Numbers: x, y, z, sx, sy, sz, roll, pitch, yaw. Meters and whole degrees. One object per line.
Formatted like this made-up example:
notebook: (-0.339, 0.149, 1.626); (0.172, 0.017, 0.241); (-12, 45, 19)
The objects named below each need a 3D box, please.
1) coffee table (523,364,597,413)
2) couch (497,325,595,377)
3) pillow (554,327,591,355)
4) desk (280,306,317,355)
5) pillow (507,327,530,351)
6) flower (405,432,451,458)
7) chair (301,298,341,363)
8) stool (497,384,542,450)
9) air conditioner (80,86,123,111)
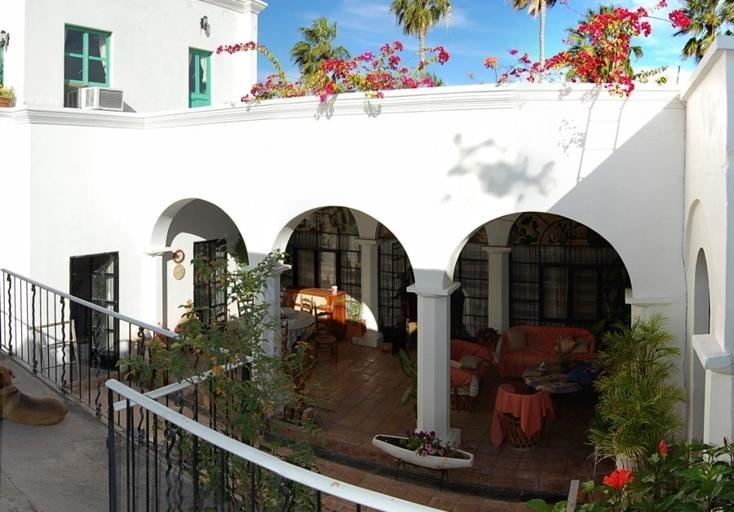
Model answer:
coffee table: (4.004, 2.690, 13.701); (1.538, 0.839, 1.396); (3, 5, 9)
couch: (4.166, 2.150, 15.570); (2.096, 1.126, 1.137); (-4, -6, 22)
pillow: (4.902, 2.021, 15.487); (0.828, 0.314, 1.123); (7, 16, 19)
desk: (-1.713, 1.848, 16.382); (0.818, 1.143, 2.493); (-1, 15, -7)
pillow: (3.662, 2.014, 15.895); (0.396, 0.445, 0.154); (6, -29, -8)
flower: (1.114, 3.356, 11.894); (0.508, 0.232, 0.475); (10, 12, 20)
chair: (-0.726, 1.984, 18.048); (1.039, 2.169, 1.298); (-1, 2, -16)
stool: (3.087, 3.086, 12.873); (1.008, 1.120, 0.912); (1, 1, 30)
air conditioner: (-5.974, -3.499, 14.753); (0.699, 0.472, 0.713); (5, 6, 36)
